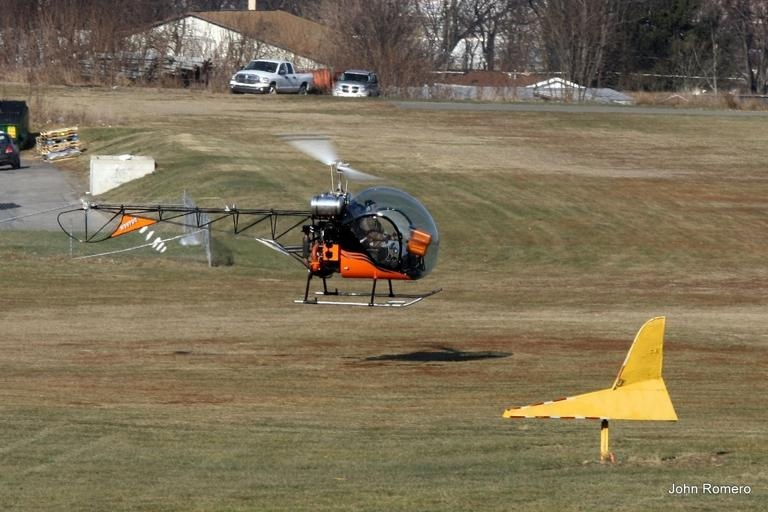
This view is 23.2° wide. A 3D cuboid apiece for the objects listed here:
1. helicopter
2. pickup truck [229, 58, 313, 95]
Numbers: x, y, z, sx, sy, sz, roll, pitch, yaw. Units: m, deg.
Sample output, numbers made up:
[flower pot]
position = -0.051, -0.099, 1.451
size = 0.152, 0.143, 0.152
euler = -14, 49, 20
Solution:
[helicopter]
position = -5.302, -1.495, 88.867
size = 15.300, 4.454, 10.419
euler = 1, 13, 1
[pickup truck]
position = -7.250, -11.778, 122.240
size = 2.246, 2.172, 5.190
euler = 6, 8, 38
